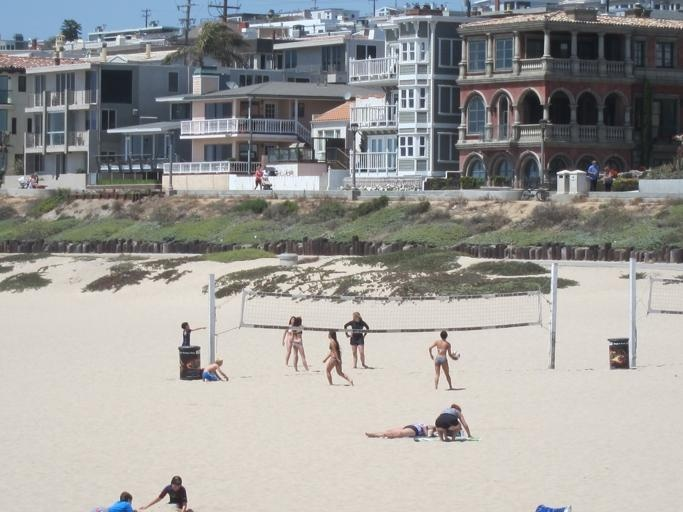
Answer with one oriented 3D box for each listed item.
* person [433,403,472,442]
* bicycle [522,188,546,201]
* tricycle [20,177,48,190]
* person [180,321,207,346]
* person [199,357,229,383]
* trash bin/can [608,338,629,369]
[{"bbox_3d":[4.470,6.720,83.236,1.440,1.225,0.803,-3,14,1],"label":"person"},{"bbox_3d":[10.653,-3.219,113.832,1.064,0.703,0.671,0,1,17],"label":"bicycle"},{"bbox_3d":[-21.698,-4.851,143.924,1.800,1.195,1.187,-1,3,19],"label":"tricycle"},{"bbox_3d":[-6.697,3.611,93.482,0.905,1.006,0.324,5,7,40],"label":"person"},{"bbox_3d":[-5.443,4.894,88.222,1.028,1.091,0.794,-2,7,-28],"label":"person"},{"bbox_3d":[11.852,4.210,87.936,1.039,1.676,1.104,-1,2,6],"label":"trash bin/can"}]
